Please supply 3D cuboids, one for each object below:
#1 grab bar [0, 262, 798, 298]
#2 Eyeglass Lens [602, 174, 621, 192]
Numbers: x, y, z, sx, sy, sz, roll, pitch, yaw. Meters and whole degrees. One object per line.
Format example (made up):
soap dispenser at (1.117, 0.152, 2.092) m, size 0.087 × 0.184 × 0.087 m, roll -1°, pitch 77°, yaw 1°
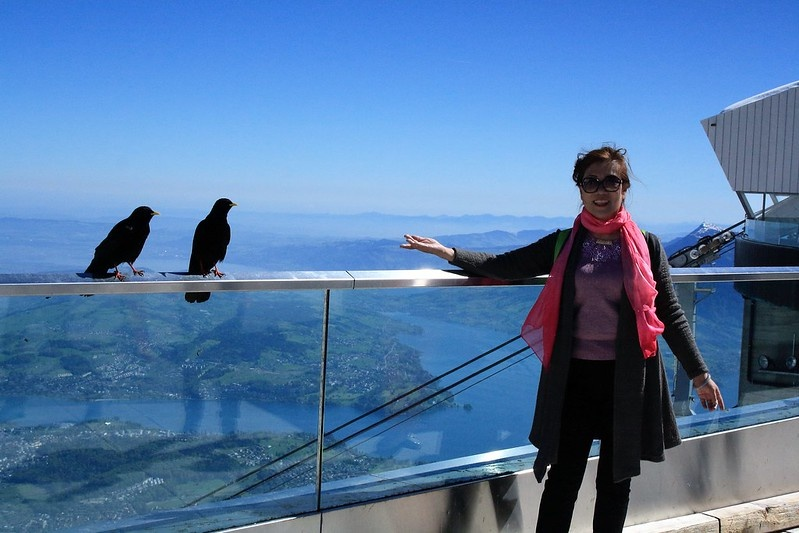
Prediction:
grab bar at (0.130, 0.082, 3.205) m, size 3.163 × 0.087 × 0.067 m, roll -1°, pitch -3°, yaw -13°
Eyeglass Lens at (1.116, -0.428, 3.036) m, size 0.106 × 0.085 × 0.031 m, roll 1°, pitch 2°, yaw -20°
